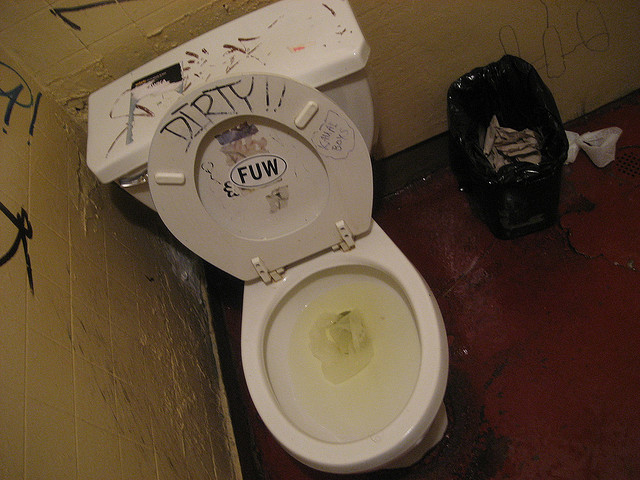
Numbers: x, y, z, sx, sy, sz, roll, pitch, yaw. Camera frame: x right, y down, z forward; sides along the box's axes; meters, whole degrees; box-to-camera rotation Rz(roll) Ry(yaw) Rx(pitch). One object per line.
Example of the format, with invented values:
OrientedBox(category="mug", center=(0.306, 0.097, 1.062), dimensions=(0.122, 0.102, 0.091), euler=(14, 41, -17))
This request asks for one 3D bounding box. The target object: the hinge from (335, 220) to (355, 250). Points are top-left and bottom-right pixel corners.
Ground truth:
OrientedBox(category="hinge", center=(0.069, -0.014, 1.632), dimensions=(0.035, 0.073, 0.016), euler=(-32, 23, -14))

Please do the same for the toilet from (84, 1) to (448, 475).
OrientedBox(category="toilet", center=(-0.114, 0.130, 1.680), dimensions=(0.824, 1.078, 0.971), euler=(-17, 50, 11))

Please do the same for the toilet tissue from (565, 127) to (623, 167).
OrientedBox(category="toilet tissue", center=(0.938, -0.323, 2.066), dimensions=(0.170, 0.082, 0.117), euler=(3, 57, 26))

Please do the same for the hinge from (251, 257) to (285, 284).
OrientedBox(category="hinge", center=(-0.144, 0.078, 1.668), dimensions=(0.051, 0.061, 0.021), euler=(-22, 40, 5))
